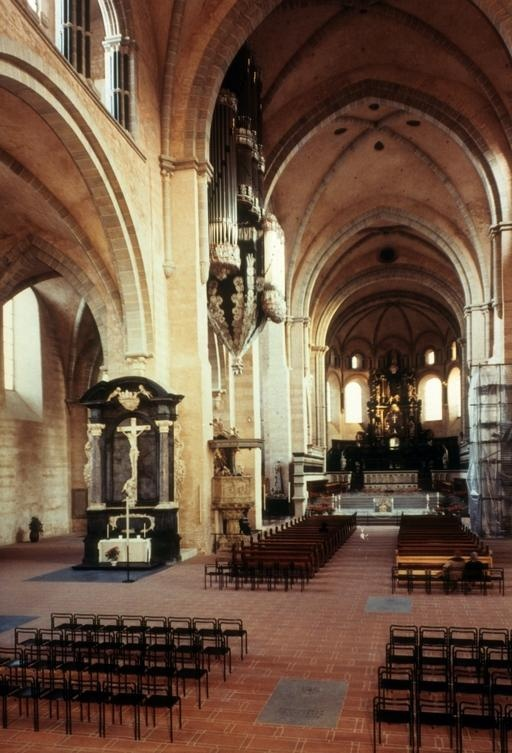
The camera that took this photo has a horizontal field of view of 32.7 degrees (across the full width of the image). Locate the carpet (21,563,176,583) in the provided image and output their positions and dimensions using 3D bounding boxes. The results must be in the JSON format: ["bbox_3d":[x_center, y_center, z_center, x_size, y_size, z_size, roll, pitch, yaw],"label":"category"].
[{"bbox_3d":[-3.015,3.614,15.974,2.232,0.086,2.106,-3,-5,13],"label":"carpet"}]

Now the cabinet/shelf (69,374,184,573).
[{"bbox_3d":[-2.550,1.879,17.736,2.042,3.830,1.125,-2,-5,-1],"label":"cabinet/shelf"}]

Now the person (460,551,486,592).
[{"bbox_3d":[3.472,3.108,13.883,0.393,0.614,0.863,-3,-5,12],"label":"person"}]
